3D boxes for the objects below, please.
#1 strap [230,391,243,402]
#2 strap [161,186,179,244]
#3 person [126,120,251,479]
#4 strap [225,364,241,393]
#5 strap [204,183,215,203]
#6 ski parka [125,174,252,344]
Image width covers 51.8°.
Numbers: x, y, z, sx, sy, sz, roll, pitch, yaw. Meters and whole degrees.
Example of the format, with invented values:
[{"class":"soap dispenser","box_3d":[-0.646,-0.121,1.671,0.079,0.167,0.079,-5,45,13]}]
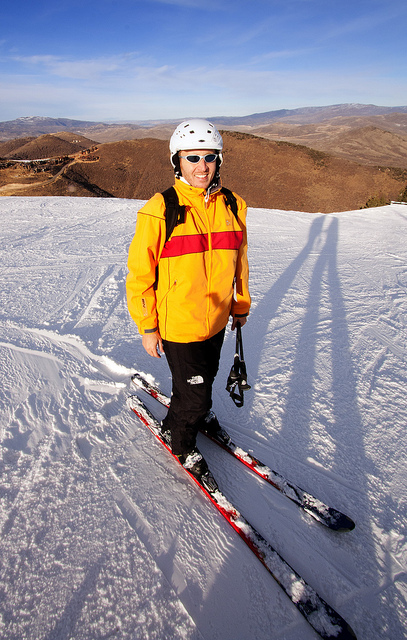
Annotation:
[{"class":"strap","box_3d":[0.209,0.495,2.692,0.066,0.017,0.049,21,3,-10]},{"class":"strap","box_3d":[-0.162,-0.542,2.119,0.064,0.223,0.160,9,17,-6]},{"class":"person","box_3d":[-0.042,-0.081,2.459,0.443,2.000,0.741,11,23,31]},{"class":"strap","box_3d":[0.200,0.370,2.687,0.055,0.191,0.073,14,-11,-2]},{"class":"strap","box_3d":[0.033,-0.649,2.180,0.010,0.069,0.018,32,-6,11]},{"class":"ski parka","box_3d":[-0.088,-0.298,2.261,0.642,0.857,0.236,-13,23,-28]}]
